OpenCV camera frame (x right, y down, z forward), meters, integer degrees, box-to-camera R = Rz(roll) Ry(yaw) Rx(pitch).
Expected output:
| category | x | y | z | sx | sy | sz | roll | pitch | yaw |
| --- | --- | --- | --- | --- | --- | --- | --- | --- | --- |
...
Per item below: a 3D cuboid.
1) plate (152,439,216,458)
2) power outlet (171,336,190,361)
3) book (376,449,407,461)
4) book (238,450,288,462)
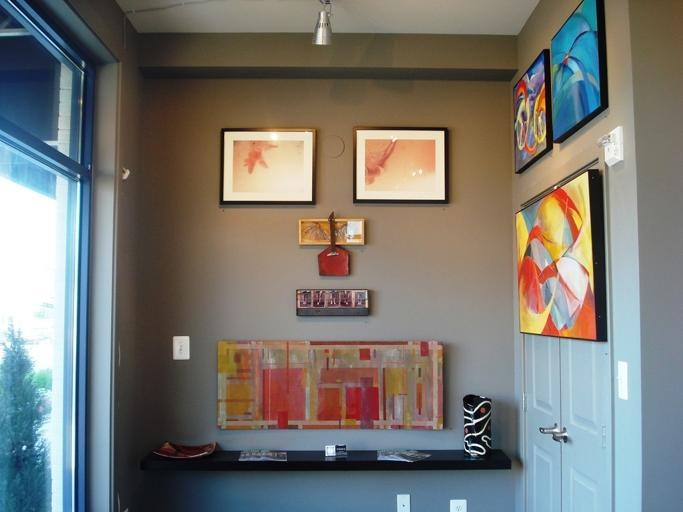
| category | x | y | z | sx | sy | sz | roll | pitch | yaw |
| --- | --- | --- | --- | --- | --- | --- | --- | --- | --- |
| plate | -0.986 | 1.217 | 3.851 | 0.363 | 0.097 | 0.201 | 0 | -13 | 6 |
| power outlet | -1.046 | 0.602 | 3.969 | 0.141 | 0.215 | 0.020 | 0 | -4 | -1 |
| book | 0.309 | 1.235 | 3.794 | 0.171 | 0.041 | 0.154 | 0 | -13 | 3 |
| book | -0.487 | 1.245 | 3.826 | 0.292 | 0.055 | 0.216 | 2 | -13 | -6 |
